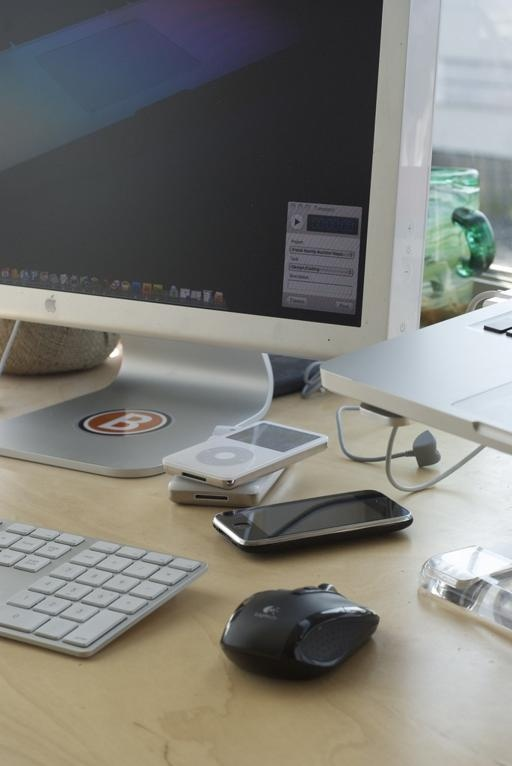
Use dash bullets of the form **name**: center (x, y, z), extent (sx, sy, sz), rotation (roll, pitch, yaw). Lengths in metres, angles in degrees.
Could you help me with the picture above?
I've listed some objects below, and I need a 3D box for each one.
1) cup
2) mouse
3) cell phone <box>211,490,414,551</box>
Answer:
- **cup**: center (0.292, -0.231, 0.975), extent (0.104, 0.146, 0.096), rotation (0, 12, 0)
- **mouse**: center (0.021, 0.128, 0.354), extent (0.057, 0.030, 0.075), rotation (12, 16, 35)
- **cell phone**: center (0.042, 0.089, 0.496), extent (0.104, 0.013, 0.054), rotation (-6, 13, -21)
